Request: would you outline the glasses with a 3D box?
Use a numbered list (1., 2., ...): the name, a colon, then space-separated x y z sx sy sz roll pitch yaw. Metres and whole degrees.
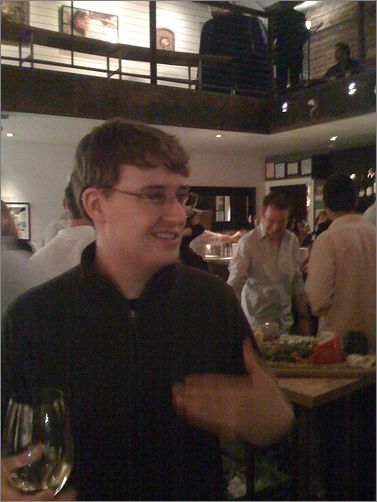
1. glasses: -0.041 -0.114 0.907 0.143 0.049 0.321 -1 2 23
